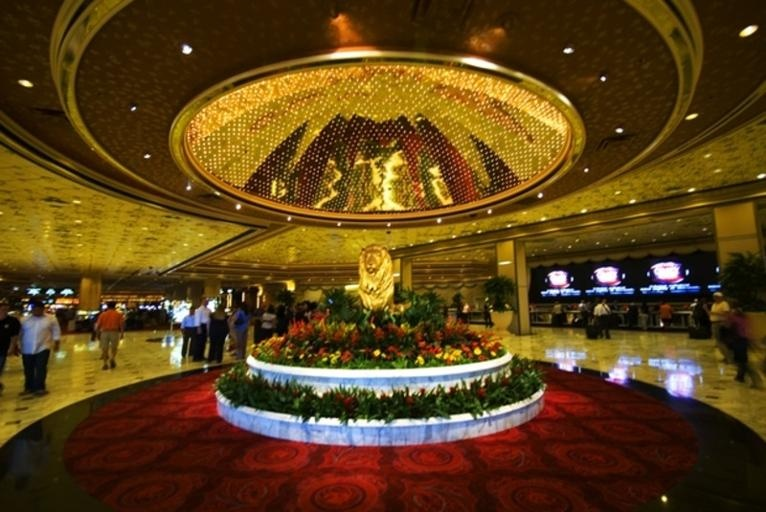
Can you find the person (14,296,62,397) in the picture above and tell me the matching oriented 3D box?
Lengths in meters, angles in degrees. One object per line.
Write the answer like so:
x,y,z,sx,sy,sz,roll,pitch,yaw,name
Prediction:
-6.856,1.784,8.111,0.816,1.879,0.854,2,12,-9,person
